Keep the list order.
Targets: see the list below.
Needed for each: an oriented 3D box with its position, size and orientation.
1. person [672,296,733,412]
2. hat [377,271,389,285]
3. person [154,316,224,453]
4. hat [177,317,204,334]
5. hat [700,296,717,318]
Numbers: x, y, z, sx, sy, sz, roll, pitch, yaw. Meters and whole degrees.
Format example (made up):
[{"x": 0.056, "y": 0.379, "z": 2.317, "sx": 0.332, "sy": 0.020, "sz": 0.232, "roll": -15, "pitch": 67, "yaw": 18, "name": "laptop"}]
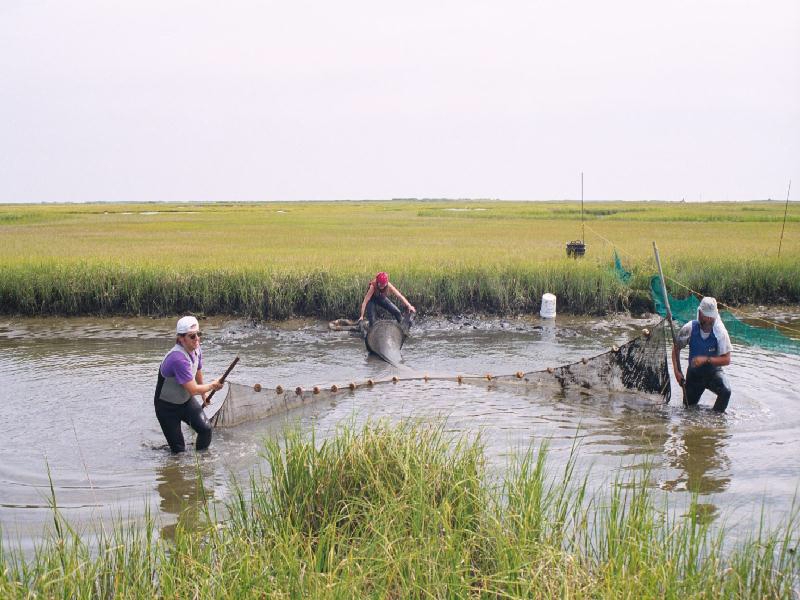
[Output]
[{"x": 6.191, "y": 1.126, "z": 21.759, "sx": 1.102, "sy": 2.502, "sz": 0.777, "roll": 4, "pitch": 13, "yaw": 32, "name": "person"}, {"x": -0.466, "y": -0.550, "z": 28.139, "sx": 0.284, "sy": 0.344, "sz": 0.455, "roll": -3, "pitch": 11, "yaw": 1, "name": "hat"}, {"x": -4.095, "y": 1.625, "z": 20.209, "sx": 1.125, "sy": 2.692, "sz": 0.932, "roll": -5, "pitch": 11, "yaw": -12, "name": "person"}, {"x": -3.907, "y": 0.481, "z": 19.852, "sx": 0.419, "sy": 0.256, "sz": 0.293, "roll": 5, "pitch": 12, "yaw": -4, "name": "hat"}, {"x": 6.187, "y": 0.157, "z": 21.334, "sx": 0.365, "sy": 0.442, "sz": 0.452, "roll": 0, "pitch": 11, "yaw": 16, "name": "hat"}]
